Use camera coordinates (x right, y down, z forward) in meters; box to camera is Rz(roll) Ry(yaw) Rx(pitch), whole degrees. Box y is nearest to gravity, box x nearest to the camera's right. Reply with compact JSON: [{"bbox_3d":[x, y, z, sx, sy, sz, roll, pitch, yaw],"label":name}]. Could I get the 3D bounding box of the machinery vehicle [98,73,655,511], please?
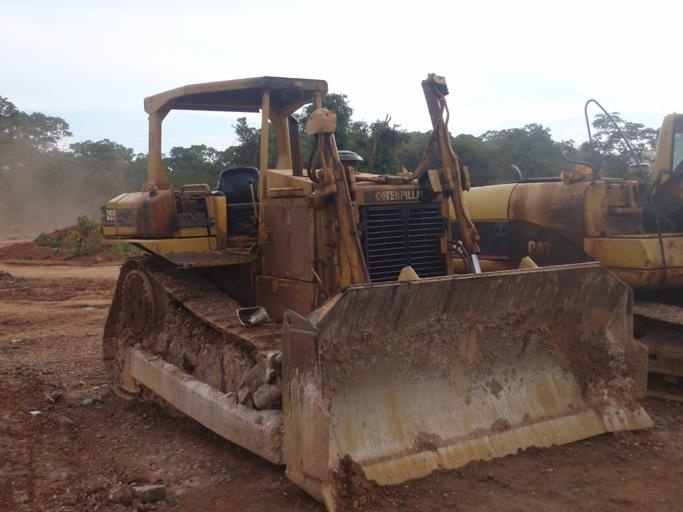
[{"bbox_3d":[-0.326,-0.197,7.299,4.272,4.465,6.684,-2,2,-33],"label":"machinery vehicle"}]
